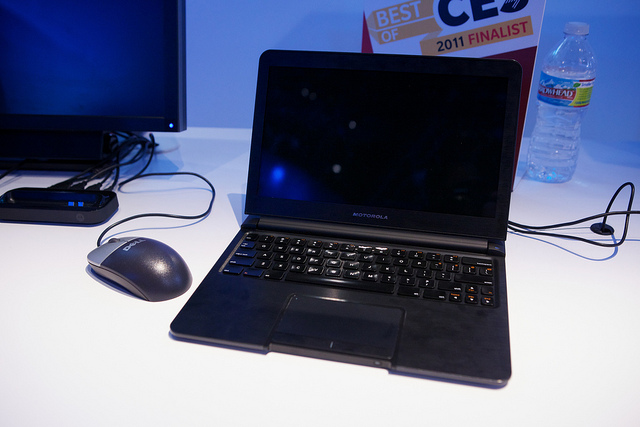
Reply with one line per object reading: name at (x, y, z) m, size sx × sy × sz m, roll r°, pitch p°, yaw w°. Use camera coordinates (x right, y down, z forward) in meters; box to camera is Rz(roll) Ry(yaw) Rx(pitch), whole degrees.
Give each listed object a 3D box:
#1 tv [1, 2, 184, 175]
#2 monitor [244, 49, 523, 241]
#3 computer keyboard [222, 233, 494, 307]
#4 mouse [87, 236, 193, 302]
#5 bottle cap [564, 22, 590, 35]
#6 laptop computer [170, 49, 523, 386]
tv at (-0.566, -0.317, 1.184) m, size 0.394 × 0.272 × 0.113 m, roll 2°, pitch 9°, yaw 1°
monitor at (0.114, -0.144, 1.000) m, size 0.542 × 0.359 × 0.009 m, roll 5°, pitch -1°, yaw 10°
computer keyboard at (0.060, 0.100, 0.946) m, size 0.579 × 0.050 × 0.198 m, roll 4°, pitch 44°, yaw 26°
mouse at (-0.319, 0.066, 0.873) m, size 0.177 × 0.061 × 0.100 m, roll 25°, pitch 36°, yaw 18°
bottle cap at (0.601, -0.430, 1.138) m, size 0.041 × 0.016 × 0.040 m, roll -11°, pitch 31°, yaw -13°
laptop computer at (0.072, -0.038, 0.865) m, size 0.556 × 0.376 × 0.488 m, roll 6°, pitch 33°, yaw 12°
